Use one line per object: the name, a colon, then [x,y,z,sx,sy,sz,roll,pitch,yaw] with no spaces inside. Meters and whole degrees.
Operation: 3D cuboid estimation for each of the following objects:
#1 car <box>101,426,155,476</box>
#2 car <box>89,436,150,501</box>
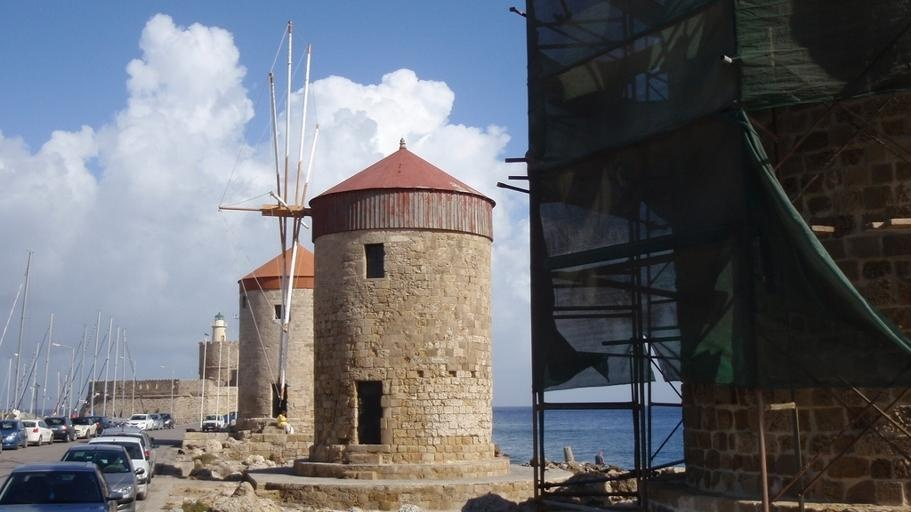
car: [-11.278,6.859,40.076,1.244,1.085,2.318,11,-6,9]
car: [-11.019,6.601,37.852,1.720,1.497,3.445,1,-10,-12]
